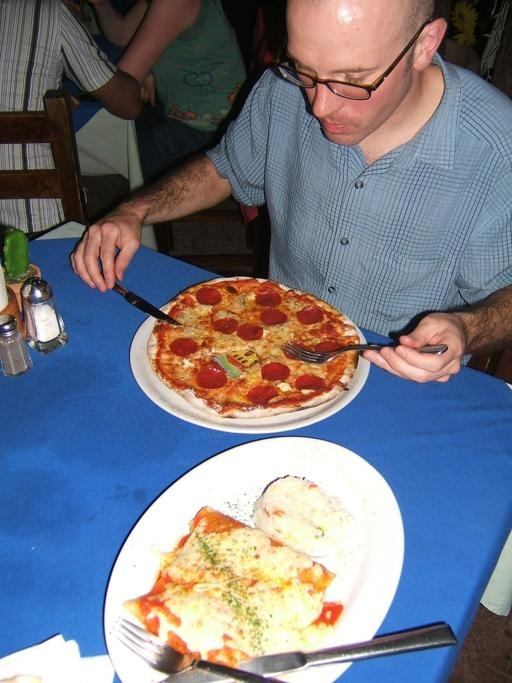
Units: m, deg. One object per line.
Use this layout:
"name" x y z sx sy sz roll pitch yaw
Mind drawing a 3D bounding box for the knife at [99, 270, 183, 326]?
"knife" -0.299 -0.113 1.375 0.054 0.030 0.354 -37 50 -26

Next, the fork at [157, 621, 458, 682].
"fork" 0.051 0.371 0.707 0.415 0.033 0.046 -4 31 -8

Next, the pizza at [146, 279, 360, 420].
"pizza" 0.033 -0.001 1.311 0.382 0.059 0.368 6 50 -27

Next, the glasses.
"glasses" 0.131 -0.556 1.151 0.327 0.149 0.226 29 41 33

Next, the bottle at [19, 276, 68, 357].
"bottle" -0.437 -0.054 1.207 0.091 0.151 0.073 11 40 3
